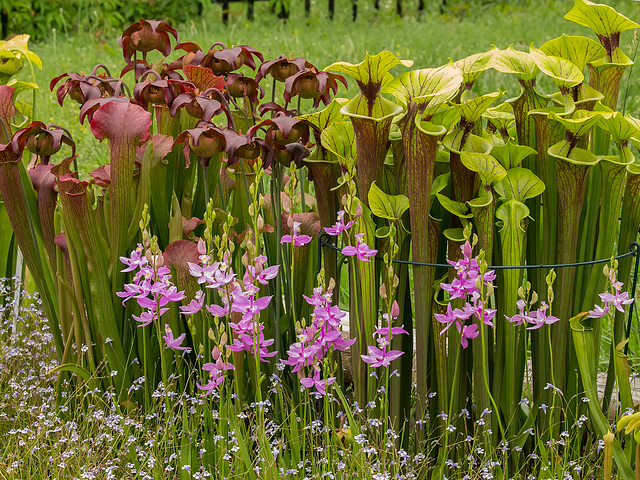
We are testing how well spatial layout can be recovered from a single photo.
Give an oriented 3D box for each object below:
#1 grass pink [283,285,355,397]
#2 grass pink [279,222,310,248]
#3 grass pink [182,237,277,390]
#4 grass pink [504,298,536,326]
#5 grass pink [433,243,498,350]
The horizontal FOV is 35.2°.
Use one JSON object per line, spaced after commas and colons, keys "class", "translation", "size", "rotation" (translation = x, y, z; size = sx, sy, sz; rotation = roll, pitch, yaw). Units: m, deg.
{"class": "grass pink", "translation": [0.011, 0.379, 4.102], "size": [0.280, 0.664, 0.379], "rotation": [1, 17, 4]}
{"class": "grass pink", "translation": [-0.102, -0.015, 4.101], "size": [0.090, 0.109, 0.103], "rotation": [-8, 2, 19]}
{"class": "grass pink", "translation": [-0.371, 0.300, 4.099], "size": [0.295, 0.613, 0.363], "rotation": [-7, 20, -41]}
{"class": "grass pink", "translation": [0.792, 0.253, 3.996], "size": [0.090, 0.122, 0.109], "rotation": [3, -24, -11]}
{"class": "grass pink", "translation": [0.582, 0.220, 4.045], "size": [0.234, 0.492, 0.381], "rotation": [0, 15, 10]}
